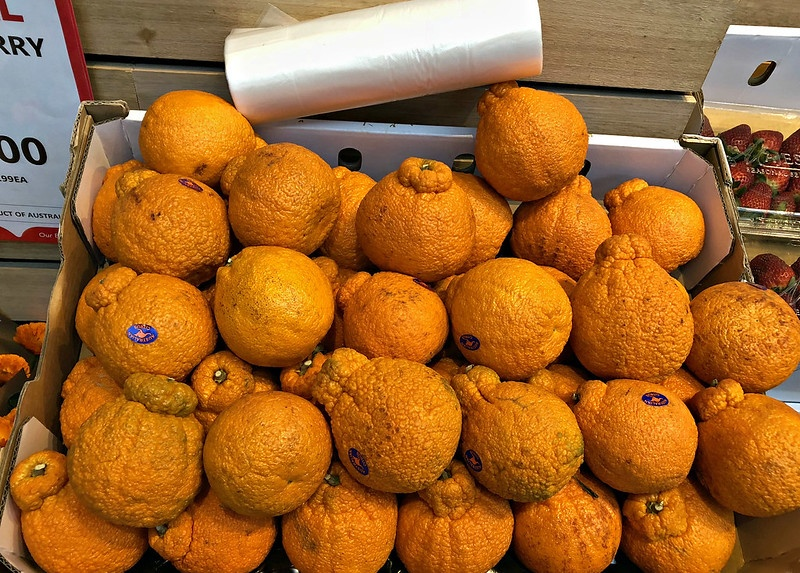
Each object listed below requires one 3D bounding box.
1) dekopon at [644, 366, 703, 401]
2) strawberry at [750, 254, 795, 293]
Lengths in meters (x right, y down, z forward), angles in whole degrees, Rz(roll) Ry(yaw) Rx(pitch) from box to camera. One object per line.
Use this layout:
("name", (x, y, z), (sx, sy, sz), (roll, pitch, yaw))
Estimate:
("dekopon", (0.734, 0.253, 1.698), (0.095, 0.046, 0.090), (2, 59, -1))
("strawberry", (1.308, -0.042, 2.296), (0.082, 0.078, 0.109), (-24, 47, -19))
